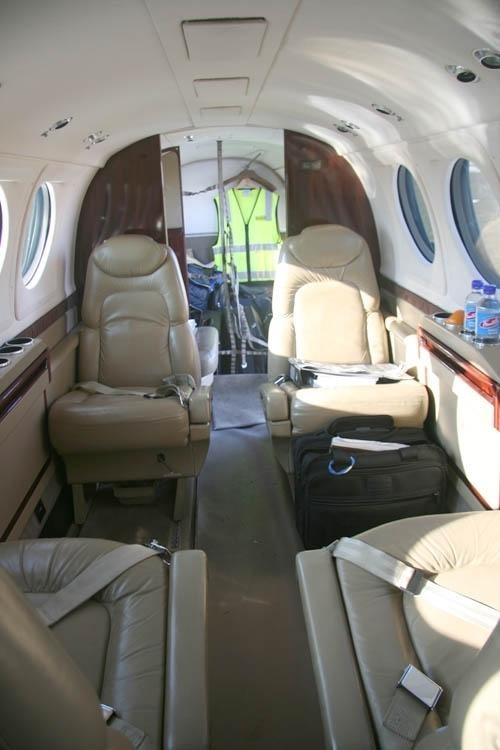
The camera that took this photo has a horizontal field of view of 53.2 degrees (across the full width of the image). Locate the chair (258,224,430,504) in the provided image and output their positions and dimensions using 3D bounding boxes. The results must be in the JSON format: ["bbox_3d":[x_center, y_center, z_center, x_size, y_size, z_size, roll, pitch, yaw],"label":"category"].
[{"bbox_3d":[0.508,-0.165,2.940,0.796,1.424,1.218,-3,12,0],"label":"chair"}]

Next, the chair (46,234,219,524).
[{"bbox_3d":[-0.657,-0.028,2.890,0.873,1.546,0.895,-4,12,-6],"label":"chair"}]

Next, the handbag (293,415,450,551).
[{"bbox_3d":[0.537,0.432,2.472,0.645,0.799,0.555,-5,12,-3],"label":"handbag"}]
